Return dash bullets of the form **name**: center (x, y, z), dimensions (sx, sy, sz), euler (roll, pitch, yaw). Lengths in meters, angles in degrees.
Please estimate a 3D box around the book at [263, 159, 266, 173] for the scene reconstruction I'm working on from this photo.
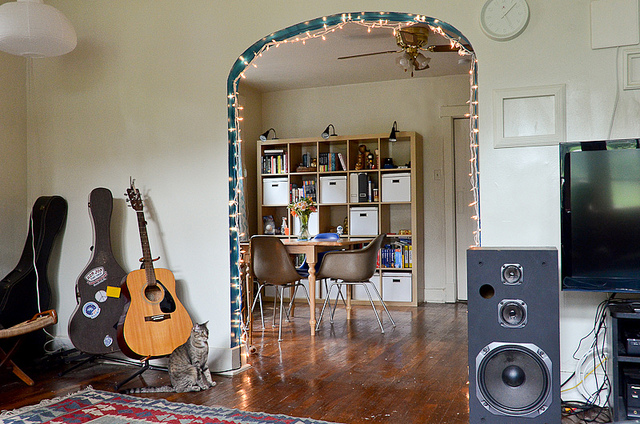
- **book**: center (-0.799, -0.652, 7.627), dimensions (0.040, 0.178, 0.011), euler (1, 5, 12)

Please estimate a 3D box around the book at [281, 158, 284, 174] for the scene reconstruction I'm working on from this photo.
- **book**: center (-0.534, -0.655, 7.557), dimensions (0.039, 0.212, 0.047), euler (-1, 5, -7)

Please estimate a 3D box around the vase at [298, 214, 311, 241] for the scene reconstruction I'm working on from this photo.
- **vase**: center (-0.187, 0.162, 6.080), dimensions (0.133, 0.279, 0.323), euler (-1, 4, -3)

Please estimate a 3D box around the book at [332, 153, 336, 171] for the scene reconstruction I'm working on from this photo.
- **book**: center (0.191, -0.694, 7.411), dimensions (0.047, 0.225, 0.032), euler (-1, 5, -7)

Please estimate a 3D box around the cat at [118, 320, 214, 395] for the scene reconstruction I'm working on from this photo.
- **cat**: center (-1.163, 1.186, 4.259), dimensions (0.961, 0.504, 0.241), euler (-16, -1, 15)

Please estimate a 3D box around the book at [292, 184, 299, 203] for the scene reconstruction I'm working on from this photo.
- **book**: center (-0.351, -0.278, 7.570), dimensions (0.082, 0.226, 0.229), euler (0, 5, 3)

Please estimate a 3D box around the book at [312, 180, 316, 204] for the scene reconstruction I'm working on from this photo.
- **book**: center (-0.083, -0.277, 7.473), dimensions (0.037, 0.286, 0.083), euler (-1, 5, -1)

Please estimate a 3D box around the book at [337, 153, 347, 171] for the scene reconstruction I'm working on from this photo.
- **book**: center (0.320, -0.695, 7.388), dimensions (0.044, 0.196, 0.194), euler (-5, -4, 6)

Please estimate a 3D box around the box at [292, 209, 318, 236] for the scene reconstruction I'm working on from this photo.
- **box**: center (-0.179, 0.126, 6.675), dimensions (0.331, 0.328, 0.184), euler (-1, -6, 13)

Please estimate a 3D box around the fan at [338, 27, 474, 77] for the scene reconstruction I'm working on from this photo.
- **fan**: center (0.985, -1.710, 5.672), dimensions (0.917, 0.273, 0.933), euler (-1, -4, -9)

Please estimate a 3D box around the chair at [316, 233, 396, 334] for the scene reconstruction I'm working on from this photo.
- **chair**: center (0.370, 0.761, 5.782), dimensions (0.891, 1.020, 0.832), euler (-1, -3, -5)

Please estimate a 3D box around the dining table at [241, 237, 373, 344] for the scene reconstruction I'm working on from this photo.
- **dining table**: center (-0.089, 0.754, 5.985), dimensions (0.922, 0.786, 1.087), euler (-2, 0, 35)

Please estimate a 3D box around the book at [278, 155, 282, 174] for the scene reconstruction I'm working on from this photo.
- **book**: center (-0.572, -0.678, 7.573), dimensions (0.056, 0.239, 0.025), euler (0, 5, 5)

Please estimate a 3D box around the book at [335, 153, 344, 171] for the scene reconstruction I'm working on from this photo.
- **book**: center (0.251, -0.697, 7.431), dimensions (0.044, 0.194, 0.191), euler (-4, 0, 7)

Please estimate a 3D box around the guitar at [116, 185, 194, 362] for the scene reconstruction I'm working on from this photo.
- **guitar**: center (-1.304, 0.753, 4.224), dimensions (0.562, 0.754, 0.289), euler (-2, 5, -15)

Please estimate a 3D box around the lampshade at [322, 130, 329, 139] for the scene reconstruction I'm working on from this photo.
- **lampshade**: center (0.072, -1.045, 7.199), dimensions (0.086, 0.114, 0.113), euler (-1, 5, -2)

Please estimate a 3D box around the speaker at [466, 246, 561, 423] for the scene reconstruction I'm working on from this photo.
- **speaker**: center (1.180, 0.770, 3.276), dimensions (0.528, 1.070, 0.189), euler (0, 5, 1)

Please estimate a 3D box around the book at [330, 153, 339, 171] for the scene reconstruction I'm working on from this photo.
- **book**: center (0.193, -0.693, 7.419), dimensions (0.120, 0.223, 0.219), euler (0, 2, 14)

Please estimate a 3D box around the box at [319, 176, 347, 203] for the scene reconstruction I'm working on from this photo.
- **box**: center (0.203, -0.301, 7.522), dimensions (0.403, 0.381, 0.313), euler (-1, 1, 3)

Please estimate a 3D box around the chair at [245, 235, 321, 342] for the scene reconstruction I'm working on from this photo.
- **chair**: center (-0.164, 0.648, 5.516), dimensions (0.736, 1.287, 0.900), euler (-1, 0, 33)

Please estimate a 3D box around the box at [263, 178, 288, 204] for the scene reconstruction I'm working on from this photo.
- **box**: center (-0.592, -0.280, 7.706), dimensions (0.420, 0.399, 0.313), euler (-1, 0, 24)

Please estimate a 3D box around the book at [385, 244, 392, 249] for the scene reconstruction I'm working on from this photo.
- **book**: center (0.918, 0.467, 7.185), dimensions (0.041, 0.054, 0.077), euler (1, -2, 25)

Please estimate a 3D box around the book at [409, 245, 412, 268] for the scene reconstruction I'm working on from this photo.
- **book**: center (1.189, 0.589, 7.038), dimensions (0.029, 0.290, 0.081), euler (-1, 5, -3)

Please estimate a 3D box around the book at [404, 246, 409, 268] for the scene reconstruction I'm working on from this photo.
- **book**: center (1.141, 0.590, 7.072), dimensions (0.058, 0.275, 0.029), euler (0, 5, 9)

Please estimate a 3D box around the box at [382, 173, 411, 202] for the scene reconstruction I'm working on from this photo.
- **box**: center (1.008, -0.328, 7.095), dimensions (0.346, 0.346, 0.356), euler (-1, -4, 16)

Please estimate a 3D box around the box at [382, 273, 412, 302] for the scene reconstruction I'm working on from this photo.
- **box**: center (1.036, 1.028, 7.159), dimensions (0.423, 0.397, 0.272), euler (0, -13, 8)

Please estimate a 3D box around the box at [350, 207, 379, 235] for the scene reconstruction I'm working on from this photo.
- **box**: center (0.618, 0.174, 7.332), dimensions (0.420, 0.413, 0.261), euler (2, -17, 29)
